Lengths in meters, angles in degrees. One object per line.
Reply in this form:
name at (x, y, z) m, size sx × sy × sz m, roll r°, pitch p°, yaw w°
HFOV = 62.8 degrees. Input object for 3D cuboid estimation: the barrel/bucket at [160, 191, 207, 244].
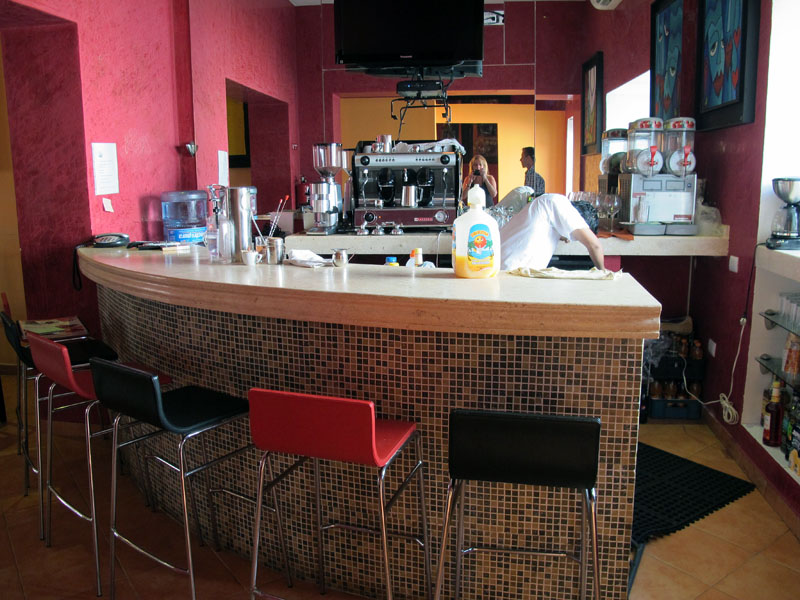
barrel/bucket at (-1.701, -0.676, 5.261) m, size 0.404 × 0.390 × 0.345 m, roll -9°, pitch 14°, yaw -30°

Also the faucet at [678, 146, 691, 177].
faucet at (1.845, -0.901, 4.232) m, size 0.066 × 0.170 × 0.054 m, roll 2°, pitch 13°, yaw 16°

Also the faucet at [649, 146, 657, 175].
faucet at (1.655, -0.922, 4.309) m, size 0.052 × 0.182 × 0.033 m, roll 1°, pitch 13°, yaw 13°

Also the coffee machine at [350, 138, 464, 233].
coffee machine at (0.043, -0.836, 4.888) m, size 0.734 × 0.653 × 0.437 m, roll -1°, pitch 7°, yaw 2°

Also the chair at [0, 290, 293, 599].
chair at (-1.194, 0.734, 3.146) m, size 0.434 × 0.829 × 1.206 m, roll -10°, pitch 17°, yaw -44°

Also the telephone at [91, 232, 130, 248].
telephone at (-1.900, -0.394, 4.268) m, size 0.369 × 0.075 × 0.172 m, roll 8°, pitch 16°, yaw 39°

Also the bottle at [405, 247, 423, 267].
bottle at (0.067, -0.206, 3.075) m, size 0.064 × 0.087 × 0.154 m, roll 0°, pitch 12°, yaw 9°

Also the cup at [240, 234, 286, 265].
cup at (-0.684, -0.263, 3.292) m, size 0.195 × 0.115 × 0.127 m, roll -1°, pitch 7°, yaw -5°

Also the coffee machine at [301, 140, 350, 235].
coffee machine at (-0.562, -0.866, 5.008) m, size 0.385 × 0.664 × 0.552 m, roll -3°, pitch 12°, yaw -6°

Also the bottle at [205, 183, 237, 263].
bottle at (-0.929, -0.393, 3.363) m, size 0.100 × 0.375 × 0.218 m, roll -11°, pitch 15°, yaw -36°
